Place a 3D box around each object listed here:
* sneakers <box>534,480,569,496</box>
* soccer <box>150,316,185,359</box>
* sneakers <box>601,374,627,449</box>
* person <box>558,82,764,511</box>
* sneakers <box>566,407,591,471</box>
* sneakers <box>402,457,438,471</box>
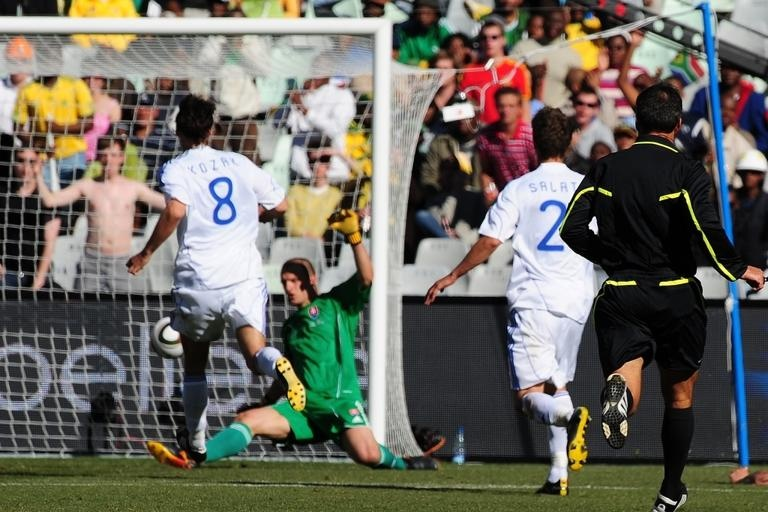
[{"bbox_3d":[1.297,1.823,11.752,0.105,0.108,0.278,0,1,-40],"label":"sneakers"},{"bbox_3d":[-1.749,0.688,12.155,0.296,0.317,0.321,-5,-15,-8],"label":"soccer"},{"bbox_3d":[1.626,1.101,10.556,0.208,0.515,0.149,1,-3,6],"label":"sneakers"},{"bbox_3d":[1.910,0.292,10.709,1.214,3.053,0.358,0,-3,11],"label":"person"},{"bbox_3d":[1.411,1.354,11.026,0.250,0.441,0.178,-7,-13,44],"label":"sneakers"},{"bbox_3d":[0.307,1.755,12.688,0.371,0.140,0.124,-2,-2,-12],"label":"sneakers"}]
